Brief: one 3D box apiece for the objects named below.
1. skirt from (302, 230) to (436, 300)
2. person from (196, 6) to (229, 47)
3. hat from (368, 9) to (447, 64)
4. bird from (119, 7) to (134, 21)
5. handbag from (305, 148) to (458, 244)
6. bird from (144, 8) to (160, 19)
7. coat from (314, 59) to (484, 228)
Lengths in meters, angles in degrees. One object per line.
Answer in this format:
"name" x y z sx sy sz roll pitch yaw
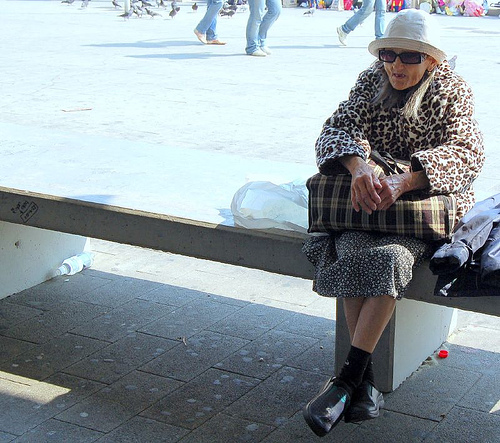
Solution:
"skirt" 0.390 0.169 1.995 0.486 0.235 0.345 8 17 20
"person" -0.689 -3.564 9.918 0.581 0.680 0.922 2 16 -3
"hat" 0.661 -0.777 2.238 0.321 0.225 0.264 7 17 14
"bird" -3.408 -5.828 14.976 0.473 0.127 0.409 -19 38 -16
"handbag" 0.512 -0.077 2.116 0.490 0.200 0.453 6 16 21
"bird" -2.838 -5.992 15.461 0.291 0.379 0.414 -15 18 10
"coat" 0.722 -0.347 2.316 0.645 0.665 0.500 20 53 39
